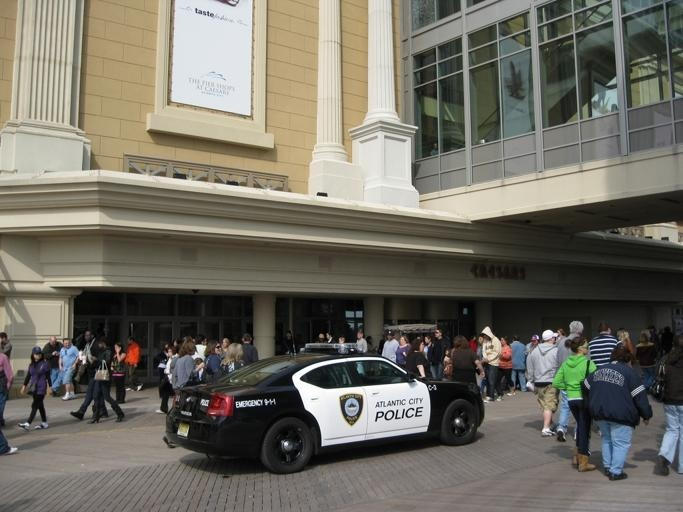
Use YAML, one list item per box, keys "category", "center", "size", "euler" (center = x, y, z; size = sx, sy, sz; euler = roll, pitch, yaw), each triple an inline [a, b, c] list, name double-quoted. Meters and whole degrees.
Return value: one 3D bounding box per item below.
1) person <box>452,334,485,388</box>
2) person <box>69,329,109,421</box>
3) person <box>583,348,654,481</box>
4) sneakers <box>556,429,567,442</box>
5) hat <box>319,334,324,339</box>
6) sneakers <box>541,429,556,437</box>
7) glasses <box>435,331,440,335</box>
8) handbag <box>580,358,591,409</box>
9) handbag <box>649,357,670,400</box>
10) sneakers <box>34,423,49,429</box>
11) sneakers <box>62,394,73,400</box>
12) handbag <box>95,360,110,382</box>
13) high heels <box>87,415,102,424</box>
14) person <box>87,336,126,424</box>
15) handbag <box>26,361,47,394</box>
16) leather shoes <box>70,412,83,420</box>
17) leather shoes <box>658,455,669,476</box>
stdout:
- category: "person"
  center: [3.120, 2.817, 16.049]
  size: [0.755, 1.990, 0.605]
  euler: [1, 25, 22]
- category: "person"
  center: [-6.343, 2.979, 15.946]
  size: [0.657, 2.326, 0.917]
  euler: [2, 0, 36]
- category: "person"
  center: [4.604, 2.769, 10.597]
  size: [0.971, 1.889, 0.435]
  euler: [-1, 1, 22]
- category: "sneakers"
  center: [4.549, 3.778, 13.140]
  size: [0.145, 0.178, 0.421]
  euler: [1, -48, 17]
- category: "hat"
  center: [-0.724, 2.987, 23.430]
  size: [0.194, 0.116, 0.296]
  euler: [0, -6, 0]
- category: "sneakers"
  center: [4.401, 3.795, 13.580]
  size: [0.385, 0.183, 0.143]
  euler: [13, -14, -37]
- category: "glasses"
  center: [2.944, 2.367, 19.485]
  size: [0.125, 0.139, 0.092]
  euler: [-10, 21, -41]
- category: "handbag"
  center: [4.293, 2.284, 11.092]
  size: [0.130, 0.644, 0.343]
  euler: [3, -6, 11]
- category: "handbag"
  center: [5.441, 2.147, 11.032]
  size: [0.202, 0.608, 0.399]
  euler: [4, 22, 20]
- category: "sneakers"
  center: [-6.965, 3.957, 14.774]
  size: [0.256, 0.140, 0.306]
  euler: [-1, 0, -29]
- category: "sneakers"
  center: [-8.150, 4.263, 18.961]
  size: [0.109, 0.144, 0.314]
  euler: [-4, -12, 30]
- category: "handbag"
  center: [-5.658, 2.723, 15.070]
  size: [0.411, 0.623, 0.229]
  euler: [1, -13, -6]
- category: "high heels"
  center: [-5.972, 3.952, 15.403]
  size: [0.212, 0.197, 0.341]
  euler: [-1, 0, -20]
- category: "person"
  center: [-5.713, 3.060, 15.439]
  size: [0.694, 1.862, 0.924]
  euler: [-1, 1, -22]
- category: "handbag"
  center: [-7.111, 2.868, 14.871]
  size: [0.456, 0.765, 0.337]
  euler: [-14, -28, 2]
- category: "leather shoes"
  center: [-6.577, 3.993, 15.840]
  size: [0.266, 0.215, 0.523]
  euler: [-1, 0, -28]
- category: "leather shoes"
  center: [5.425, 3.576, 10.723]
  size: [0.144, 0.189, 0.436]
  euler: [-7, -53, 33]
